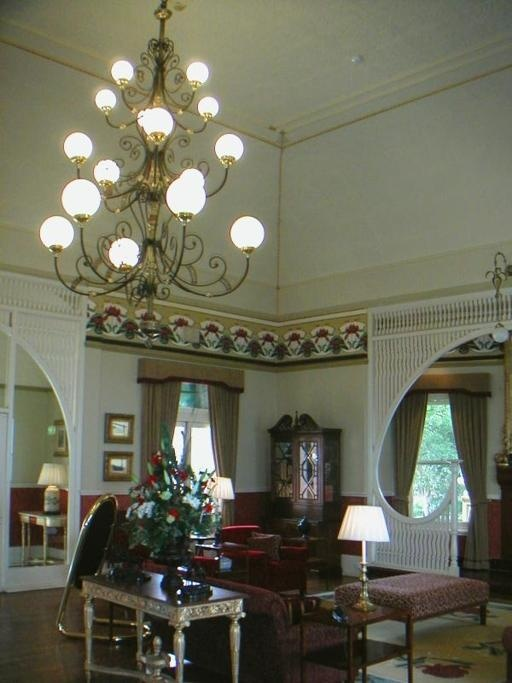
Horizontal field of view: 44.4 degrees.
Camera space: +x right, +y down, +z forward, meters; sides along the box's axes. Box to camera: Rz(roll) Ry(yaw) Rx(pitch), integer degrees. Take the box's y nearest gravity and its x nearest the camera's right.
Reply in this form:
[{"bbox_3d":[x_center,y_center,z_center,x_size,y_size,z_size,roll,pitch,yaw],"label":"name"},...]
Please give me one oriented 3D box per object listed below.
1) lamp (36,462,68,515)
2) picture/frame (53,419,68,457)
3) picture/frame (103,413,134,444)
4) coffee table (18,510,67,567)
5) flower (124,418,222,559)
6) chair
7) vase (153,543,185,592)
[{"bbox_3d":[-2.273,1.645,7.009,0.332,0.545,0.212,1,-9,-1],"label":"lamp"},{"bbox_3d":[-2.226,1.100,7.104,0.060,0.560,0.429,0,-4,-36],"label":"picture/frame"},{"bbox_3d":[-1.662,1.037,7.446,0.038,0.321,0.382,-11,-14,43],"label":"picture/frame"},{"bbox_3d":[-2.346,2.048,6.789,0.457,0.513,0.727,3,-5,-32],"label":"coffee table"},{"bbox_3d":[-0.456,0.847,3.470,0.491,0.712,0.342,2,-9,-4],"label":"flower"},{"bbox_3d":[0.002,2.290,6.603,0.808,0.749,0.888,8,-16,-33],"label":"chair"},{"bbox_3d":[-0.456,1.234,3.449,0.220,0.233,0.229,-9,-13,32],"label":"vase"}]
